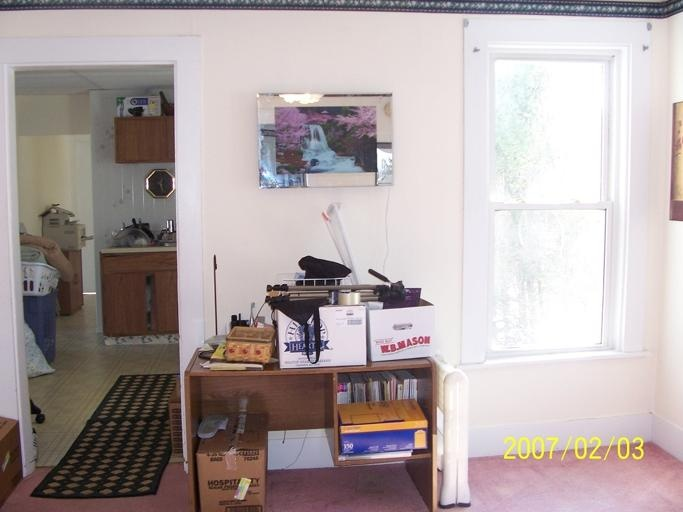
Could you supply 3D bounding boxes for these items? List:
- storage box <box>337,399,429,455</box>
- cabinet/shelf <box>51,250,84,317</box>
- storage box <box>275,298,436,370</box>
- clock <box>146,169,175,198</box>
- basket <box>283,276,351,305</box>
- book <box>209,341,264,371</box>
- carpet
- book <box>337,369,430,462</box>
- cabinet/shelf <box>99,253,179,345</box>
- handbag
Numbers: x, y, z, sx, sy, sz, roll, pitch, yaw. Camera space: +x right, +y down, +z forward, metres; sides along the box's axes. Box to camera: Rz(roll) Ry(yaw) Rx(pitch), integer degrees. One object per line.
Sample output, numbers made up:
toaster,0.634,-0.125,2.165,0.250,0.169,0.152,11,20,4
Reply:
storage box,0.241,1.030,3.540,0.531,0.233,0.282,-2,7,-3
cabinet/shelf,-3.651,0.352,7.844,0.277,0.741,0.764,-2,6,-14
storage box,0.105,0.459,3.307,0.725,0.256,0.394,-1,1,-6
clock,-2.080,-0.841,6.754,0.304,0.298,0.039,2,5,-5
basket,-0.154,0.195,3.415,0.290,0.102,0.166,1,3,-3
book,-0.612,0.574,3.289,0.307,0.129,0.178,3,9,32
carpet,-1.564,1.126,4.072,0.471,0.015,1.193,3,10,0
book,0.223,0.948,3.609,0.404,0.173,0.542,-1,7,-2
cabinet/shelf,-2.132,0.421,6.218,0.966,1.031,0.600,1,4,0
handbag,-0.233,0.417,3.286,0.323,0.372,0.122,-2,7,-3
